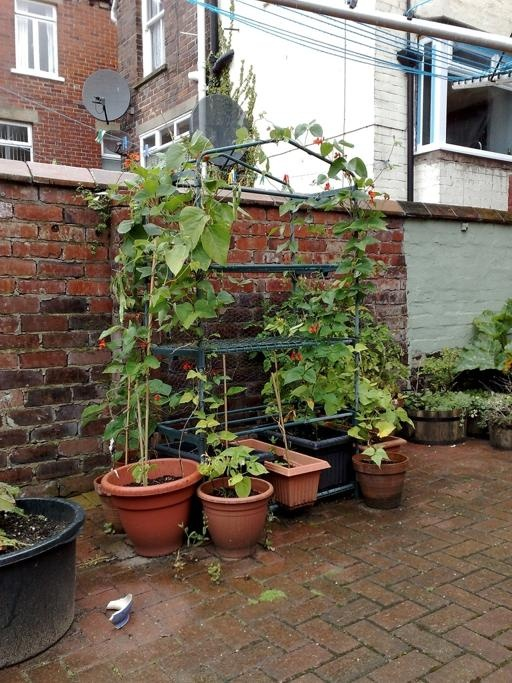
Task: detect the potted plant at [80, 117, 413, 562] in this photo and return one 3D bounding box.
[{"bbox_3d":[0.085,-0.142,3.423,1.345,2.143,2.117,2,6,29],"label":"potted plant"}]
